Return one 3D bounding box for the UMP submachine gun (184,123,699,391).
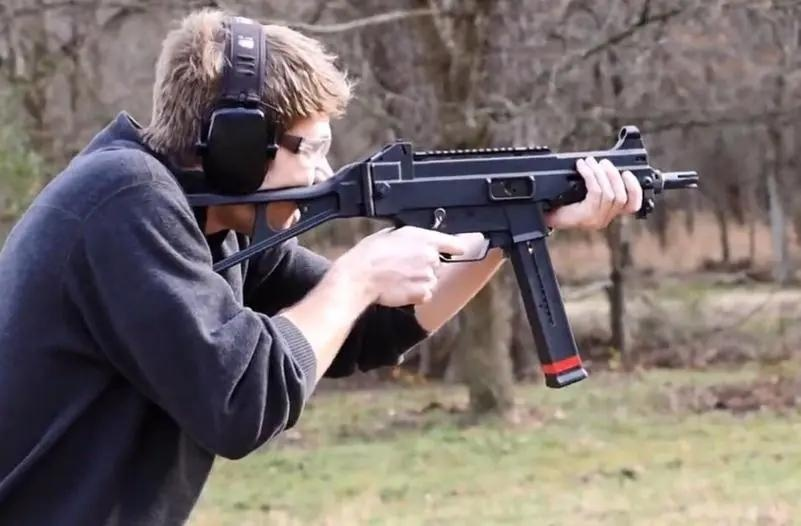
[{"bbox_3d":[0.418,-0.038,6.788,4.208,1.662,1.498,-3,12,-9],"label":"UMP submachine gun"}]
